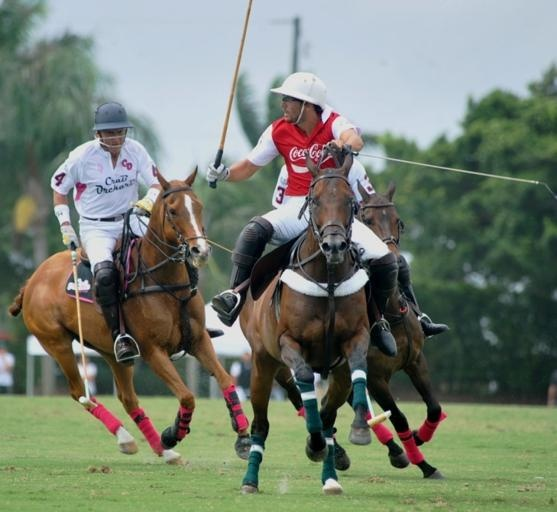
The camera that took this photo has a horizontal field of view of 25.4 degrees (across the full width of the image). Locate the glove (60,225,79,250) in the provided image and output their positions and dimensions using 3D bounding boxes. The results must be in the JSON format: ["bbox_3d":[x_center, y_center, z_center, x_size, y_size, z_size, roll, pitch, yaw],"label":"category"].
[{"bbox_3d":[-2.643,-0.225,15.656,0.192,0.332,0.133,-19,4,15],"label":"glove"}]

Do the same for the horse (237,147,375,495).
[{"bbox_3d":[0.376,0.771,13.707,1.097,3.781,1.561,5,-4,-28],"label":"horse"}]

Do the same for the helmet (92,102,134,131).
[{"bbox_3d":[-2.102,-1.755,15.738,0.483,0.396,0.327,4,-4,-8],"label":"helmet"}]

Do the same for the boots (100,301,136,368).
[{"bbox_3d":[-1.925,0.914,15.152,0.343,0.749,0.298,5,19,32],"label":"boots"}]
